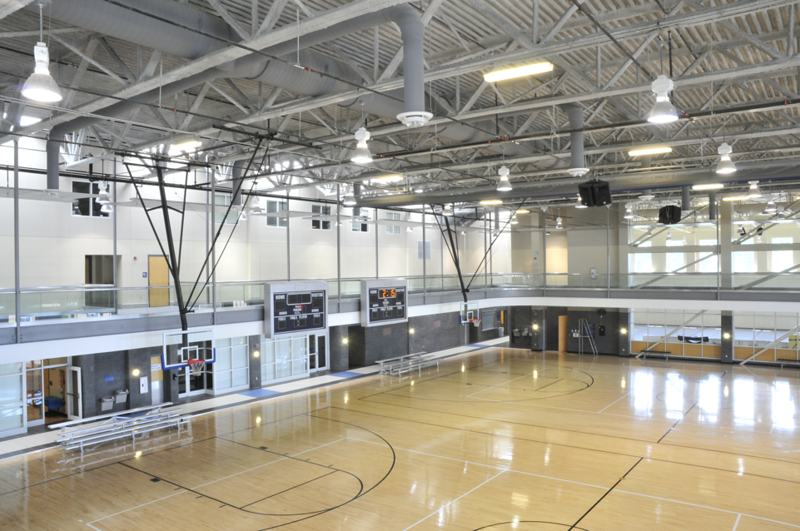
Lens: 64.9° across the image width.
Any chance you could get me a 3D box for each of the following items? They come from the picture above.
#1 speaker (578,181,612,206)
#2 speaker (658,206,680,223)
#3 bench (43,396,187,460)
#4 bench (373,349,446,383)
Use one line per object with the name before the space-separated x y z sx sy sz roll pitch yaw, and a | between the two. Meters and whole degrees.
speaker | 7.460 -2.761 24.085 1.143 0.963 0.856 0 9 8
speaker | 12.849 -2.405 29.862 1.110 0.780 1.020 -1 -1 32
bench | -9.862 5.739 22.363 4.229 1.006 1.883 -6 9 -41
bench | 0.583 5.197 32.987 2.299 0.823 4.799 4 8 30
